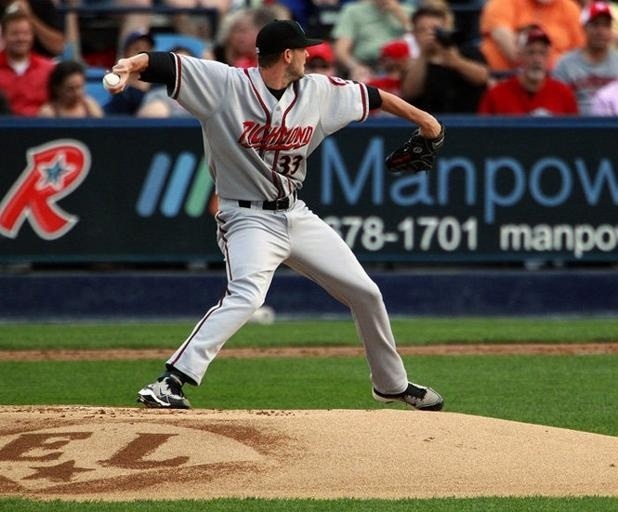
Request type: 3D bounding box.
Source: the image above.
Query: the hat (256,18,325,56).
[{"bbox_3d":[-0.117,-1.116,6.167,0.263,0.125,0.162,-14,16,-9],"label":"hat"}]

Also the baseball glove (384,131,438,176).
[{"bbox_3d":[0.570,-0.589,6.558,0.297,0.179,0.130,-25,41,29],"label":"baseball glove"}]

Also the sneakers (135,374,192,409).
[{"bbox_3d":[-0.723,0.688,6.172,0.355,0.212,0.109,7,-2,-16],"label":"sneakers"}]

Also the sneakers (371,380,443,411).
[{"bbox_3d":[0.505,0.772,6.613,0.418,0.138,0.154,9,-10,8],"label":"sneakers"}]

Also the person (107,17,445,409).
[{"bbox_3d":[-0.175,-0.175,6.294,1.681,2.083,0.399,-4,9,-20],"label":"person"}]

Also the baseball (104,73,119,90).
[{"bbox_3d":[-0.959,-0.847,5.797,0.068,0.066,0.080,11,61,8],"label":"baseball"}]
